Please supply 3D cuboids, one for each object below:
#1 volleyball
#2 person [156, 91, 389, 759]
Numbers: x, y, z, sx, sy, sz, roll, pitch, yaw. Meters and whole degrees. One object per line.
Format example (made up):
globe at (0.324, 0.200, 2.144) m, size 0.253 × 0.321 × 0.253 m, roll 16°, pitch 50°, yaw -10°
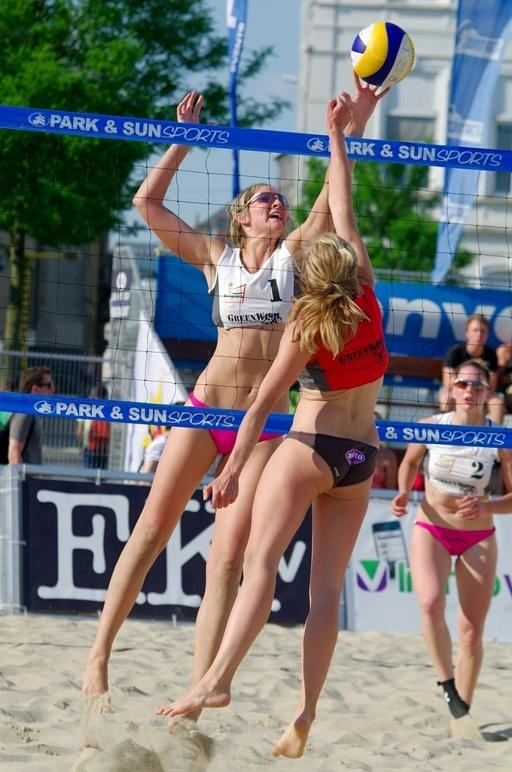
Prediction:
volleyball at (0.560, -1.458, 4.357) m, size 0.288 × 0.301 × 0.272 m, roll -4°, pitch 10°, yaw -26°
person at (0.171, 0.259, 3.234) m, size 0.668 × 1.857 × 0.689 m, roll 12°, pitch 11°, yaw -16°
